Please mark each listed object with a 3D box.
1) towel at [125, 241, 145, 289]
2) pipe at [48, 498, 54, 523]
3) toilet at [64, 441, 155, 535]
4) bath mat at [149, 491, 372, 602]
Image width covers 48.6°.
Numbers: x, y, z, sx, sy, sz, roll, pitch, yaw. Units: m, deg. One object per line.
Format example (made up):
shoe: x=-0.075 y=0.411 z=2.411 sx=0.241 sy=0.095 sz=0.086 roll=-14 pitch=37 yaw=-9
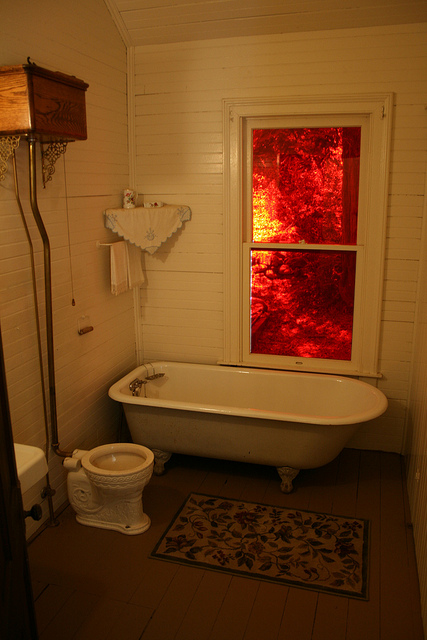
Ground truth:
towel: x=-0.575 y=-0.388 z=3.409 sx=0.035 sy=0.341 sz=0.266 roll=-2 pitch=5 yaw=19
pipe: x=-0.880 y=1.029 z=2.574 sx=0.024 sy=0.183 sz=0.098 roll=-4 pitch=10 yaw=-20
toilet: x=-0.551 y=0.930 z=2.613 sx=0.489 sy=0.373 sz=0.349 roll=1 pitch=12 yaw=20
bath mat: x=0.269 y=1.133 z=2.465 sx=1.047 sy=0.023 sz=0.644 roll=2 pitch=10 yaw=17
